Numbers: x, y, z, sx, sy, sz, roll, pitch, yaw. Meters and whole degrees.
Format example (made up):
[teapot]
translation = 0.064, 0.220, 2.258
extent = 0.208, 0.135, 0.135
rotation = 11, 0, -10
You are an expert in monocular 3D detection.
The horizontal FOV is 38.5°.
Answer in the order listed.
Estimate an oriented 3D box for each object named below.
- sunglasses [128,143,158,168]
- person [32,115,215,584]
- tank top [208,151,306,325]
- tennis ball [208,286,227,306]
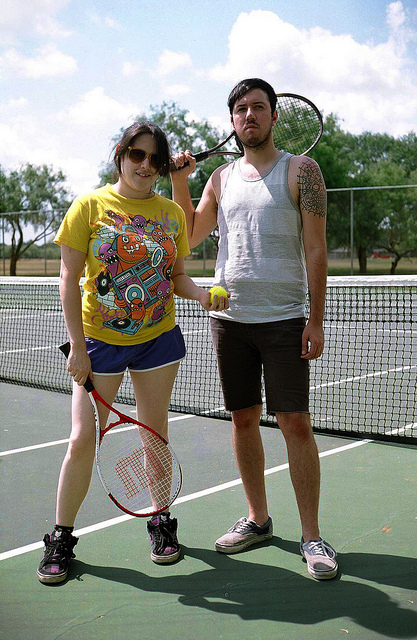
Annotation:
[sunglasses]
translation = -0.252, -0.627, 2.273
extent = 0.111, 0.081, 0.044
rotation = -1, 5, -8
[person]
translation = -0.343, 0.091, 2.400
extent = 0.702, 1.792, 0.545
rotation = -1, 5, -2
[tank top]
translation = 0.200, -0.338, 2.531
extent = 0.407, 0.703, 0.181
rotation = 3, 6, 38
[tennis ball]
translation = 0.036, -0.095, 2.401
extent = 0.075, 0.083, 0.073
rotation = 6, -9, 1
